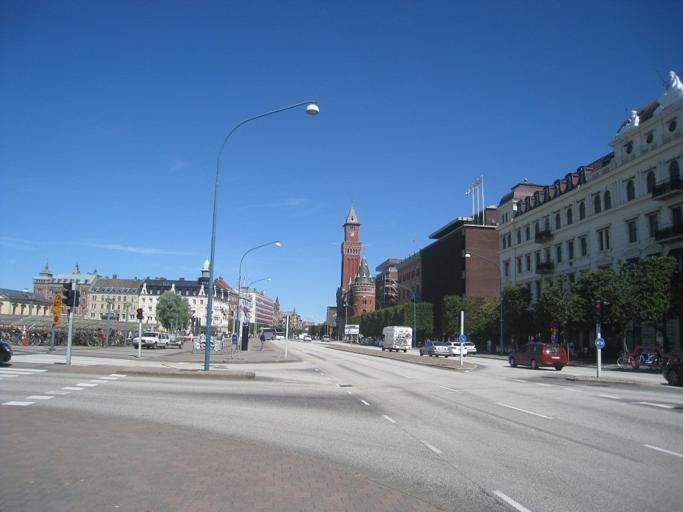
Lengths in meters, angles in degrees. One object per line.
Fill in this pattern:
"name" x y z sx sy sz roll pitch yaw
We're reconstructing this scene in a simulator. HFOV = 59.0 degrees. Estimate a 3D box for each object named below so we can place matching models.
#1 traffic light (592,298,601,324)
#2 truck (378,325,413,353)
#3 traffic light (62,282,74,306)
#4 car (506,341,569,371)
"traffic light" 12.790 2.728 30.058 0.363 1.037 0.745 -4 -12 24
"truck" 7.301 10.586 77.439 2.421 2.650 4.794 2 -7 -7
"traffic light" -12.670 1.725 27.987 0.537 1.208 0.869 8 -13 -32
"car" 12.543 6.313 38.641 1.633 1.411 3.759 3 -6 -7
